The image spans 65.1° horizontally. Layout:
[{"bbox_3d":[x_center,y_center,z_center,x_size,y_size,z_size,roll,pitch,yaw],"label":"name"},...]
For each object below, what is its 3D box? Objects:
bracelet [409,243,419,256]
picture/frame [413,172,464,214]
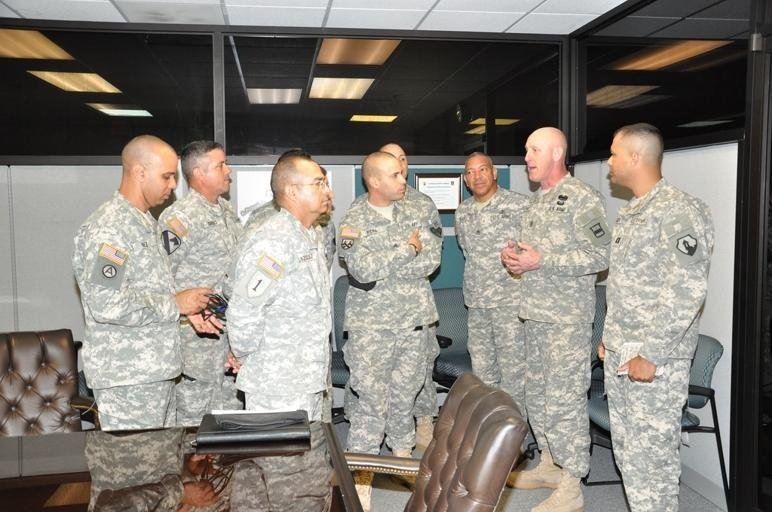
[{"bbox_3d":[0.193,-0.052,4.078,0.050,0.075,0.105,-1,2,22],"label":"bracelet"},{"bbox_3d":[0.414,-0.537,5.038,0.444,0.369,0.029,1,-1,-12],"label":"picture/frame"}]
